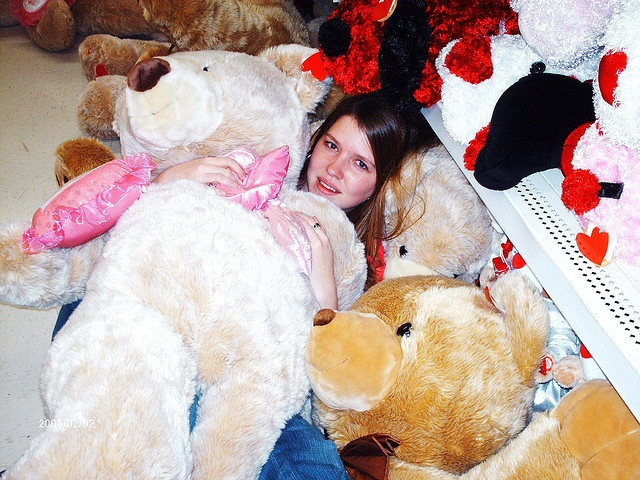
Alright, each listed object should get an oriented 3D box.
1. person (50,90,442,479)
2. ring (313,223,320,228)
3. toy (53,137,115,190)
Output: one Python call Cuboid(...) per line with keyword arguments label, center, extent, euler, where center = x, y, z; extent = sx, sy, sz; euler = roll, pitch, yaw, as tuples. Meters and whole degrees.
Cuboid(label="person", center=(0.019, 0.096, 1.462), extent=(0.910, 0.370, 0.935), euler=(27, 68, 39))
Cuboid(label="ring", center=(-0.010, -0.034, 1.380), extent=(0.012, 0.009, 0.004), euler=(-22, 67, 16))
Cuboid(label="toy", center=(-0.662, -0.195, 1.642), extent=(0.168, 0.144, 0.176), euler=(-7, 87, 7))
